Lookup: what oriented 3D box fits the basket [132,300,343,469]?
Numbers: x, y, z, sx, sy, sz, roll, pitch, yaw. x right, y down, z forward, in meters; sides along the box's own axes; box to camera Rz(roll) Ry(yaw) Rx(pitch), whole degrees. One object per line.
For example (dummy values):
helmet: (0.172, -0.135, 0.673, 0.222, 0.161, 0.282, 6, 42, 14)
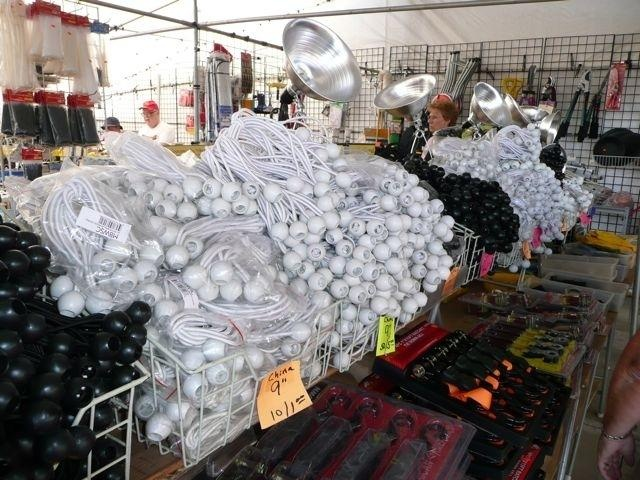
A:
basket: (-0.142, 0.259, 0.854, 0.232, 0.186, 0.374, 18, 27, 40)
